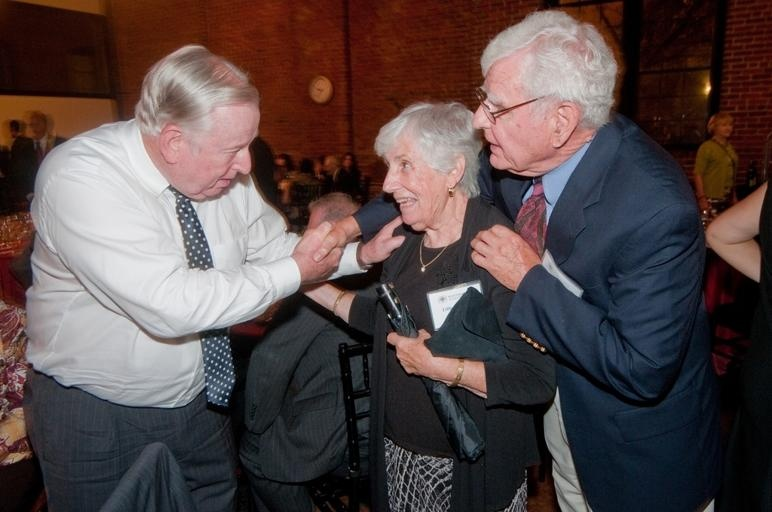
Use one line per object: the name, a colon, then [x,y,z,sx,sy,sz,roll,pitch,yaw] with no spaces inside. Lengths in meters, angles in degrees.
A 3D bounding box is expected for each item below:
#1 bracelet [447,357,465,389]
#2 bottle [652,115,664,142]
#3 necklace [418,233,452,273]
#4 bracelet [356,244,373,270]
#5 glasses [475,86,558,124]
bracelet: [0.276,0.454,2.203,0.020,0.083,0.081,20,-29,-14]
bottle: [3.566,-1.670,7.475,0.061,0.261,0.252,-1,-36,12]
necklace: [0.196,-0.006,2.412,0.038,0.114,0.127,26,-1,-30]
bracelet: [-0.105,0.010,2.620,0.089,0.103,0.049,6,-14,-1]
glasses: [0.458,-0.560,2.217,0.181,0.055,0.170,-21,29,2]
